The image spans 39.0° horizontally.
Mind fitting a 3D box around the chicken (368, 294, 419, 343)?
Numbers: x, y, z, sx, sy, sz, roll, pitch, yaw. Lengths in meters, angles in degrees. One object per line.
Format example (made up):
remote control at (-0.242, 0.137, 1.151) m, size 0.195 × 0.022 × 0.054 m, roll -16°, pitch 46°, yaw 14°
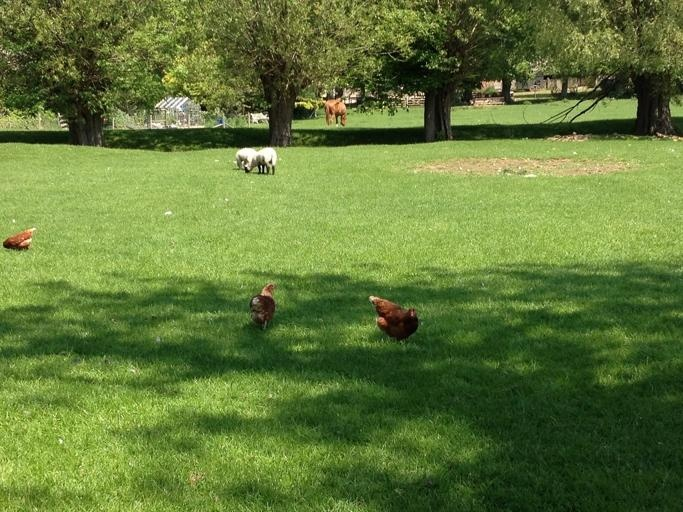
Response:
chicken at (1.260, 1.620, 23.563) m, size 1.341 × 1.093 × 0.814 m, roll 15°, pitch 28°, yaw 39°
